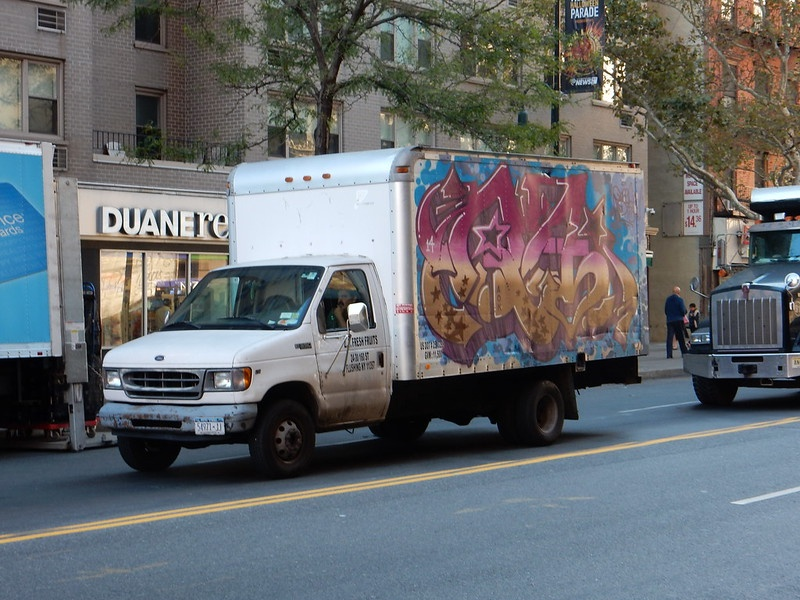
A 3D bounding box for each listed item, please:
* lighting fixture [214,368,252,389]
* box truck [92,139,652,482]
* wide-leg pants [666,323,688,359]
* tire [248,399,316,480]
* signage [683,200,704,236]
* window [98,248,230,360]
[{"bbox_3d":[-1.837,0.891,9.129,0.245,0.195,0.270,0,-4,-3],"label":"lighting fixture"},{"bbox_3d":[-0.151,-0.029,11.870,3.675,4.365,7.286,-2,-3,44],"label":"box truck"},{"bbox_3d":[9.031,1.325,26.925,0.982,0.738,2.231,-9,-15,21],"label":"wide-leg pants"},{"bbox_3d":[-1.360,1.585,9.580,0.318,0.972,0.841,-1,3,41],"label":"tire"},{"bbox_3d":[13.760,-3.832,38.633,1.255,2.189,0.217,-1,-2,22],"label":"signage"},{"bbox_3d":[-4.882,0.034,16.280,0.093,1.956,2.354,9,11,43],"label":"window"}]
